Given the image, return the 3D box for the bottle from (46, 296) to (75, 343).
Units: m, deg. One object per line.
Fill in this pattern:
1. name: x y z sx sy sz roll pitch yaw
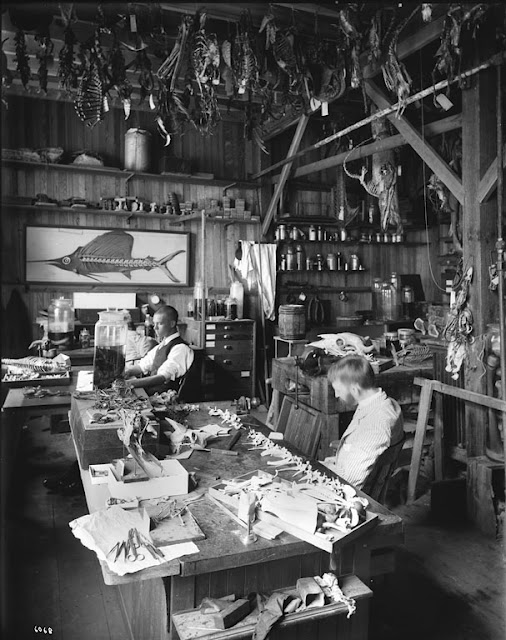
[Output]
1. bottle: -1.263 0.009 4.026 0.148 0.334 0.159 1 8 0

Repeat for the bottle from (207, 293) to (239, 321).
1. bottle: -0.349 -0.236 6.852 0.334 0.433 0.215 1 5 -6

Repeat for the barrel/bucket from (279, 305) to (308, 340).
1. barrel/bucket: 0.408 0.012 6.340 0.259 0.334 0.285 -1 2 -19

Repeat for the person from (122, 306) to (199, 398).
1. person: -0.706 0.403 4.625 0.412 0.991 0.445 4 0 44

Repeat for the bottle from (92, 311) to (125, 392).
1. bottle: -0.655 0.134 2.794 0.156 0.358 0.205 -3 6 -17
